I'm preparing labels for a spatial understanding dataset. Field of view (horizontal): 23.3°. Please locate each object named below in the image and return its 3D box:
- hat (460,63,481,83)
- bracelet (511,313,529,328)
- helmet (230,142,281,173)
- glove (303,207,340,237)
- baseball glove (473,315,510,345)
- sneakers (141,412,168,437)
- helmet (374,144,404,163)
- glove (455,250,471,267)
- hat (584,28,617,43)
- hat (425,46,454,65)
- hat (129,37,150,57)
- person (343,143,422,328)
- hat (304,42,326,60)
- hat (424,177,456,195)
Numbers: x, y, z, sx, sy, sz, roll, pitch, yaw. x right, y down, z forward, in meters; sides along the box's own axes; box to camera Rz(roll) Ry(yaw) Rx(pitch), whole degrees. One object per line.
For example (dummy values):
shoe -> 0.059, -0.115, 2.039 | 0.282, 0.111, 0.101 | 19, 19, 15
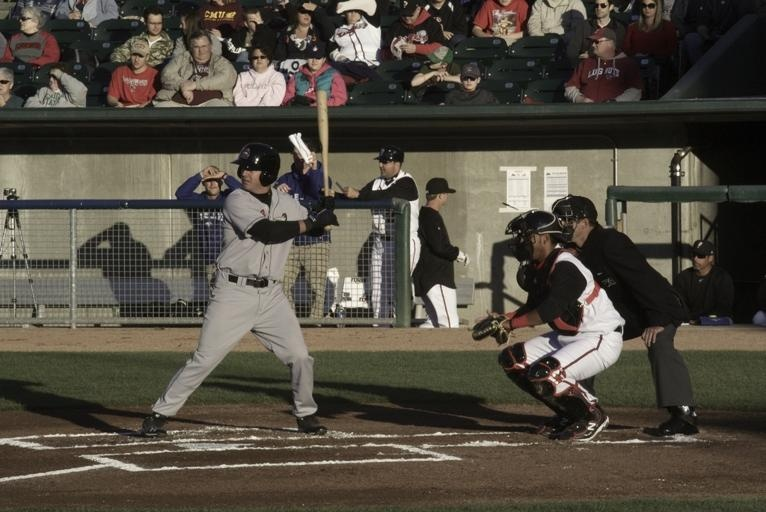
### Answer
hat -> 1.411, -2.755, 27.721 | 0.373, 0.229, 0.562 | -4, 4, 9
bracelet -> 1.618, 0.728, 21.837 | 0.231, 0.171, 0.128 | 1, 5, 29
helmet -> -1.508, -1.192, 22.049 | 0.500, 0.225, 0.329 | 7, 5, -18
glove -> -0.782, -0.422, 22.327 | 0.424, 0.245, 0.218 | -27, 10, -39
baseball glove -> 1.294, 0.862, 22.016 | 0.428, 0.303, 0.174 | -15, -12, -1
sneakers -> -2.706, 1.951, 21.912 | 0.291, 0.302, 0.153 | -2, 4, -8
helmet -> 0.090, -1.472, 26.268 | 0.381, 0.166, 0.250 | 2, 10, -8
glove -> 1.092, 0.011, 26.260 | 0.225, 0.083, 0.210 | 18, 15, 3
hat -> 3.329, -3.370, 28.056 | 0.382, 0.180, 0.252 | 3, 2, 5
hat -> 0.878, -3.094, 28.499 | 0.361, 0.253, 0.332 | -1, 4, -2
hat -> -3.728, -3.195, 28.295 | 0.268, 0.297, 0.289 | -1, 4, 1
person -> 0.033, -0.364, 26.479 | 0.964, 2.416, 0.593 | -1, 4, -1
hat -> -1.050, -3.155, 28.559 | 0.310, 0.198, 0.413 | 1, 0, 5
hat -> 0.822, -1.007, 26.361 | 0.377, 0.192, 0.245 | -12, 15, -21
